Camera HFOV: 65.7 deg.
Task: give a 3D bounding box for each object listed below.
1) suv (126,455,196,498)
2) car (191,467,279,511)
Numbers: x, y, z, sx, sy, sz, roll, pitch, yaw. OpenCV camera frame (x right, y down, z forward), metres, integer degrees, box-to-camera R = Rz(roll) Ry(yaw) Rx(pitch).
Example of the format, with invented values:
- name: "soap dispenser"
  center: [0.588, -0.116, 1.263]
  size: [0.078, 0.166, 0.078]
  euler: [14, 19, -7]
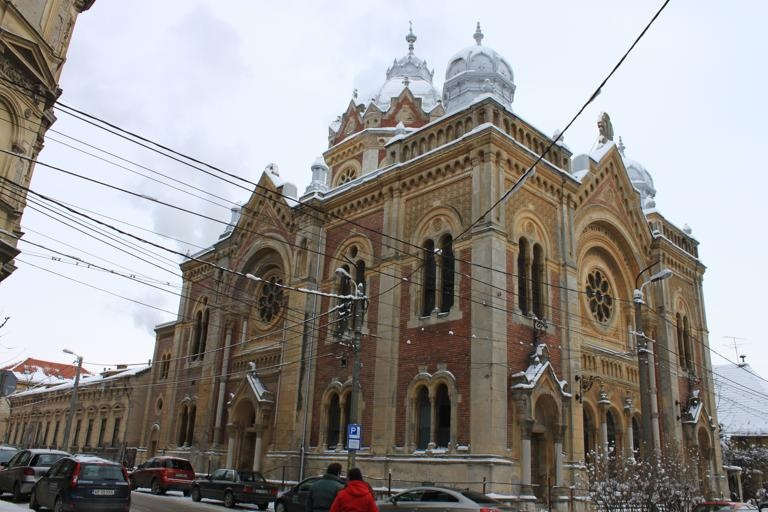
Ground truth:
- name: "suv"
  center: [-12.712, 12.885, 34.531]
  size: [5.615, 2.140, 2.991]
  euler: [-22, -36, 37]
- name: "car"
  center: [-7.404, 11.453, 29.376]
  size: [4.469, 2.009, 1.415]
  euler: [-16, -33, 30]
